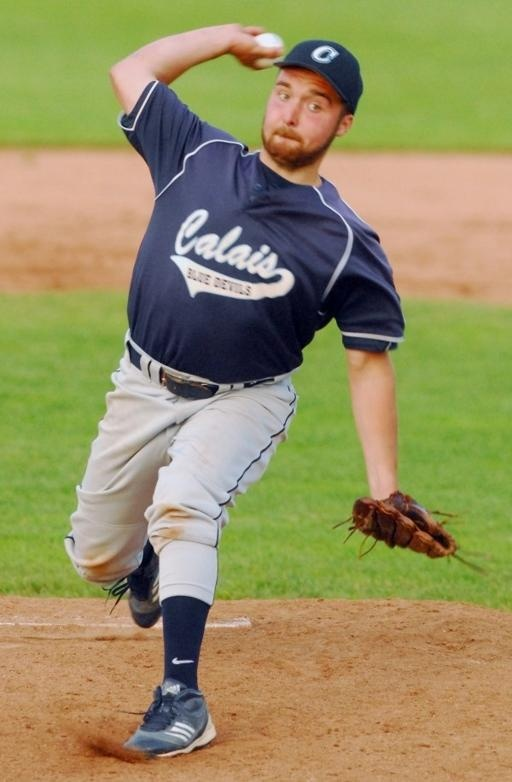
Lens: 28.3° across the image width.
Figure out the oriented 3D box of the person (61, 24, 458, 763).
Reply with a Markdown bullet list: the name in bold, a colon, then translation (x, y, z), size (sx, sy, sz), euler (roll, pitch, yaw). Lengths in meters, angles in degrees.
- **person**: translation (-0.018, -0.132, 2.830), size (0.896, 1.987, 0.900), euler (1, 3, -9)

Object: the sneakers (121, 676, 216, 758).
- **sneakers**: translation (-0.193, 0.769, 2.502), size (0.111, 0.150, 0.271), euler (12, 22, 42)

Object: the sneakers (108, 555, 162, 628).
- **sneakers**: translation (-0.380, 0.677, 3.358), size (0.145, 0.331, 0.120), euler (-16, 36, -41)

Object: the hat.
- **hat**: translation (0.191, -0.868, 2.873), size (0.180, 0.122, 0.245), euler (34, 10, 16)

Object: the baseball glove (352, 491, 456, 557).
- **baseball glove**: translation (0.386, 0.356, 2.703), size (0.227, 0.157, 0.377), euler (25, 7, 13)
